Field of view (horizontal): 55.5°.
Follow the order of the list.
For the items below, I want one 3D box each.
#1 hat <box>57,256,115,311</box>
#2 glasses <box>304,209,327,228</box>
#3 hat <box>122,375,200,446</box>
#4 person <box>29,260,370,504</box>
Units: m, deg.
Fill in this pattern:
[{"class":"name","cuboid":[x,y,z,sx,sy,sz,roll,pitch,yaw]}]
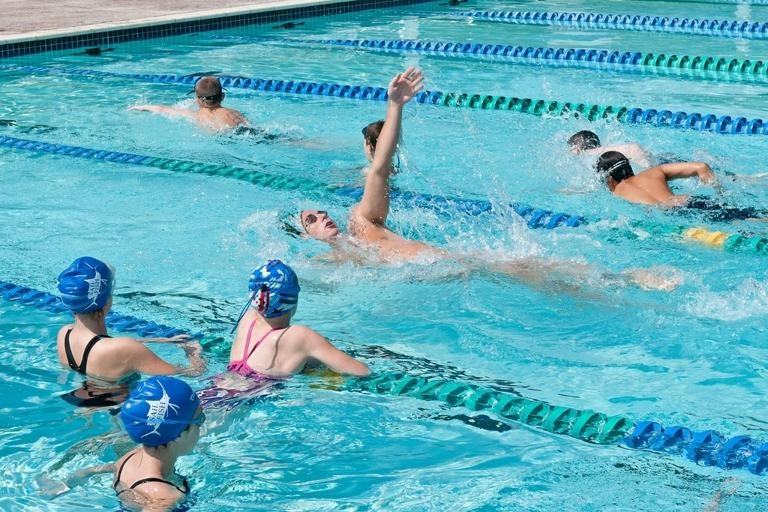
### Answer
[{"class":"hat","cuboid":[-1.431,0.144,3.488,0.240,0.262,0.184,7,15,-7]},{"class":"glasses","cuboid":[-0.456,-0.240,4.689,0.163,0.103,0.057,-9,53,-43]},{"class":"hat","cuboid":[-0.893,0.613,2.888,0.235,0.255,0.205,16,17,28]},{"class":"person","cuboid":[-0.674,0.454,3.452,1.777,0.650,0.944,-18,37,-30]}]
